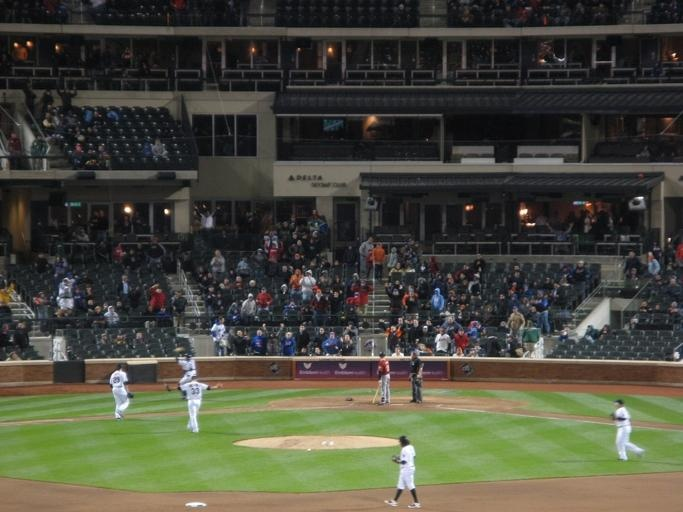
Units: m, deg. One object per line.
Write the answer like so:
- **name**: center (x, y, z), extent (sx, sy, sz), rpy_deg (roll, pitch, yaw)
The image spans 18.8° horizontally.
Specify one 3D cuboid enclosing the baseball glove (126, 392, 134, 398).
- **baseball glove**: center (-9.655, 6.356, 93.155), extent (0.284, 0.211, 0.280), rpy_deg (-1, 10, -22)
